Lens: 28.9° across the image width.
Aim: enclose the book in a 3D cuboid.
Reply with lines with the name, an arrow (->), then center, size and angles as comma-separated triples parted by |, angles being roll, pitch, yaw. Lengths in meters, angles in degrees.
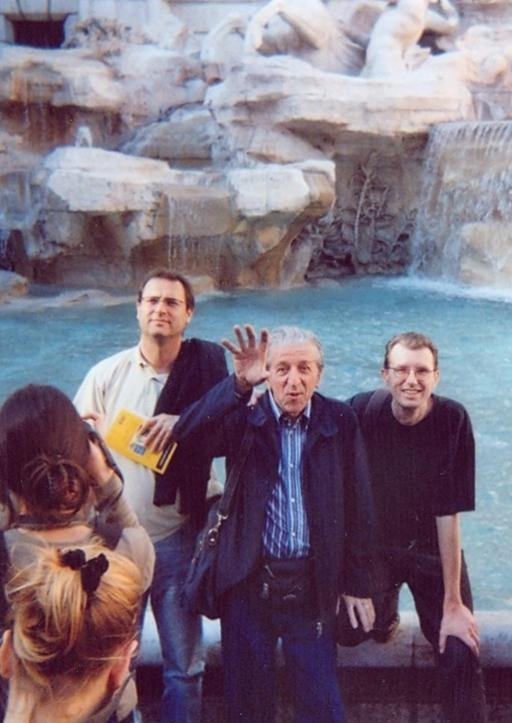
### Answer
book -> -0.350, 0.252, 2.984 | 0.210, 0.171, 0.055 | 28, 9, 6
